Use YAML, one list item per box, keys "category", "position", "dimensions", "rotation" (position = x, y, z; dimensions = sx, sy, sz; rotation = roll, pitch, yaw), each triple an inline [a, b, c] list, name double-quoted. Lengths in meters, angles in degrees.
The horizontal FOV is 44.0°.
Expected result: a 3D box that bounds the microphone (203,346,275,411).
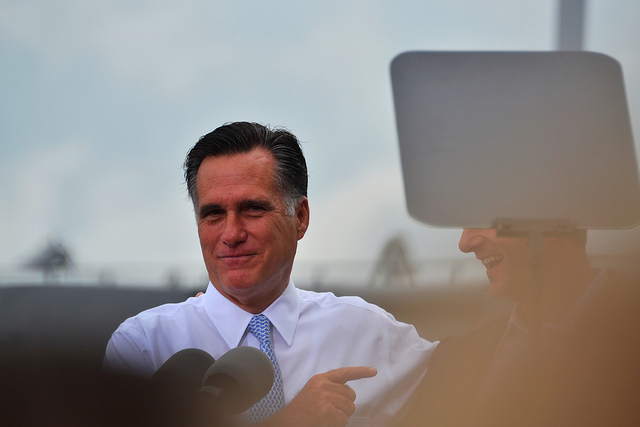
- category: "microphone"
  position: [-0.287, 0.576, 2.740]
  dimensions: [0.132, 0.195, 0.277]
  rotation: [-1, 2, 35]
